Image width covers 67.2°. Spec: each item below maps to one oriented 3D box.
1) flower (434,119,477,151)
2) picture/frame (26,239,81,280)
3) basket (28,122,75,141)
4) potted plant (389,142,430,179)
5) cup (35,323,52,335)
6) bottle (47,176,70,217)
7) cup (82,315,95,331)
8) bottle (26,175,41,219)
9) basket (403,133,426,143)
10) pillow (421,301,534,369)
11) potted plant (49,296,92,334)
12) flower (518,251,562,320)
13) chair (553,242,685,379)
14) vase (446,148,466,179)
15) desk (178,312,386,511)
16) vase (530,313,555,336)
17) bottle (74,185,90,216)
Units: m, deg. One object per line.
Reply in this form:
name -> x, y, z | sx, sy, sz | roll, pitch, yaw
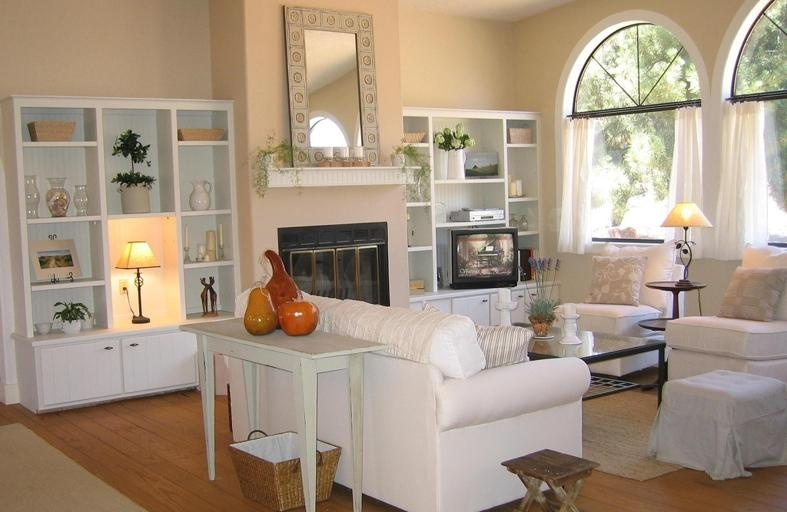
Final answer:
flower -> 0.815, -1.660, 7.941 | 0.424, 0.396, 0.469 | 4, -4, -22
picture/frame -> -3.554, 0.045, 6.136 | 0.433, 0.394, 0.038 | -5, -18, -43
basket -> -3.453, -1.230, 5.951 | 0.369, 0.161, 0.247 | 0, -1, -38
potted plant -> 0.207, -1.131, 6.993 | 0.449, 0.432, 0.245 | -2, 8, -4
cup -> -3.563, 0.741, 6.025 | 0.124, 0.087, 0.139 | -4, -5, 45
bottle -> -3.453, -0.598, 6.067 | 0.199, 0.394, 0.244 | -4, 8, -12
cup -> -3.227, 0.729, 6.289 | 0.141, 0.103, 0.116 | -3, 7, -16
bottle -> -3.628, -0.595, 5.944 | 0.126, 0.429, 0.214 | -5, 9, -24
basket -> 0.264, -1.518, 7.625 | 0.134, 0.137, 0.335 | 4, 9, 40
pillow -> 0.655, 0.597, 3.988 | 0.499, 0.489, 0.147 | 3, -17, -22
potted plant -> -3.301, 0.617, 6.070 | 0.357, 0.238, 0.349 | -5, 9, -36
flower -> 1.837, 0.383, 7.424 | 0.373, 0.857, 0.947 | 1, 2, 32
chair -> 2.387, 0.563, 7.206 | 1.325, 1.801, 1.715 | -1, -2, 44
vase -> 0.843, -1.221, 7.935 | 0.253, 0.410, 0.168 | -3, 8, -11
desk -> -0.724, 1.089, 4.039 | 0.549, 1.114, 1.291 | -4, 5, -41
vase -> 1.407, 0.655, 5.669 | 0.213, 0.146, 0.206 | 1, -4, 6
bottle -> -3.238, -0.575, 6.132 | 0.123, 0.311, 0.101 | -9, 10, -40
